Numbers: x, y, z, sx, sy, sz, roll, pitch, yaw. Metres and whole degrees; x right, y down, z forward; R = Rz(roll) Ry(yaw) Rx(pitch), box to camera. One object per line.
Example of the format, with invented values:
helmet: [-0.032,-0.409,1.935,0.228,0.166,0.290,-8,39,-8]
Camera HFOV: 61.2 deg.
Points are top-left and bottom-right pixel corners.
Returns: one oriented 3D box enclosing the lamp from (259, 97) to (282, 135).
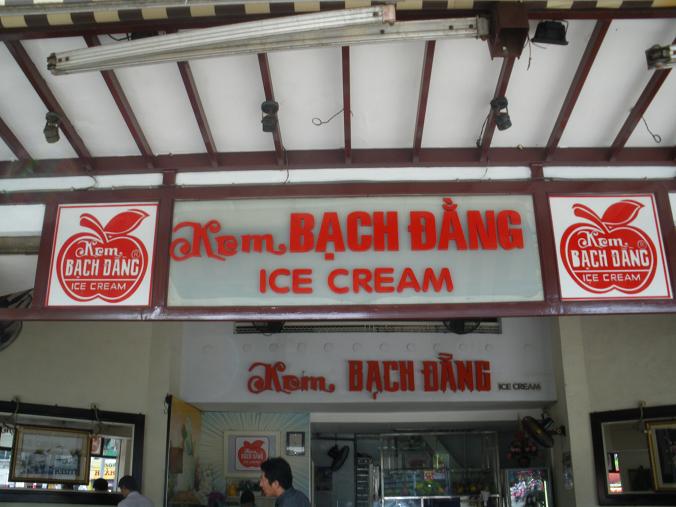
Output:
lamp: [-0.648,-1.265,5.495,0.214,0.299,0.282,4,16,8]

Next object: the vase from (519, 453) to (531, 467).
vase: [3.385,3.719,10.331,0.228,0.199,0.557,-8,-24,15]

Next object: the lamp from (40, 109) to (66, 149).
lamp: [-2.692,-1.171,5.474,0.248,0.356,0.339,0,10,7]

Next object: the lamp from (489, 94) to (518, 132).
lamp: [1.585,-1.348,5.551,0.213,0.333,0.126,-12,16,3]

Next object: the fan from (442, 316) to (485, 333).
fan: [2.139,1.246,9.900,0.611,0.246,0.331,-10,-25,20]

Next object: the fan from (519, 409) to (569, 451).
fan: [3.624,3.070,10.028,0.844,0.561,0.587,-14,-27,29]

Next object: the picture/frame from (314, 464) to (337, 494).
picture/frame: [-0.359,5.433,13.892,0.520,0.745,0.514,1,-25,-3]

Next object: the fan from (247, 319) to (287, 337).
fan: [-1.246,1.304,10.079,0.552,0.144,0.807,11,-26,-26]

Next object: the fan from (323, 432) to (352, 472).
fan: [-0.019,4.867,14.120,0.789,0.735,0.715,22,-26,-31]
